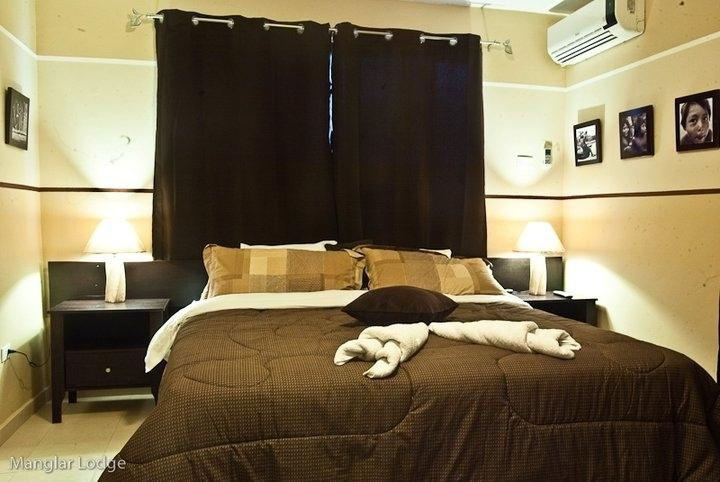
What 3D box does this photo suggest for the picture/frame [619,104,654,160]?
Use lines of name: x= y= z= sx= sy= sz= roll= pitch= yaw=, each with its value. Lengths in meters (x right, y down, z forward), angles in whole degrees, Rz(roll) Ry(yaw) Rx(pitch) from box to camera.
picture/frame: x=2.227 y=-0.868 z=4.352 sx=0.058 sy=0.390 sz=0.305 roll=-5 pitch=6 yaw=-22

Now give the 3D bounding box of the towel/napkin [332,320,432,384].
towel/napkin: x=0.160 y=0.557 z=2.884 sx=0.220 sy=0.118 sz=0.427 roll=10 pitch=17 yaw=36

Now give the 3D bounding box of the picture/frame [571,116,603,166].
picture/frame: x=2.021 y=-0.867 z=4.800 sx=0.054 sy=0.386 sz=0.302 roll=-5 pitch=7 yaw=-26

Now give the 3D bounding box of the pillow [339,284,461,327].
pillow: x=0.229 y=0.406 z=3.561 sx=0.733 sy=0.260 sz=0.648 roll=-4 pitch=2 yaw=3

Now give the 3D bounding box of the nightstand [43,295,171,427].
nightstand: x=-2.057 y=0.950 z=4.447 sx=0.954 sy=0.826 sz=0.938 roll=2 pitch=-4 yaw=-36

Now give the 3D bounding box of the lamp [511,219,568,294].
lamp: x=1.609 y=0.180 z=4.747 sx=0.297 sy=0.452 sz=0.305 roll=21 pitch=1 yaw=3
